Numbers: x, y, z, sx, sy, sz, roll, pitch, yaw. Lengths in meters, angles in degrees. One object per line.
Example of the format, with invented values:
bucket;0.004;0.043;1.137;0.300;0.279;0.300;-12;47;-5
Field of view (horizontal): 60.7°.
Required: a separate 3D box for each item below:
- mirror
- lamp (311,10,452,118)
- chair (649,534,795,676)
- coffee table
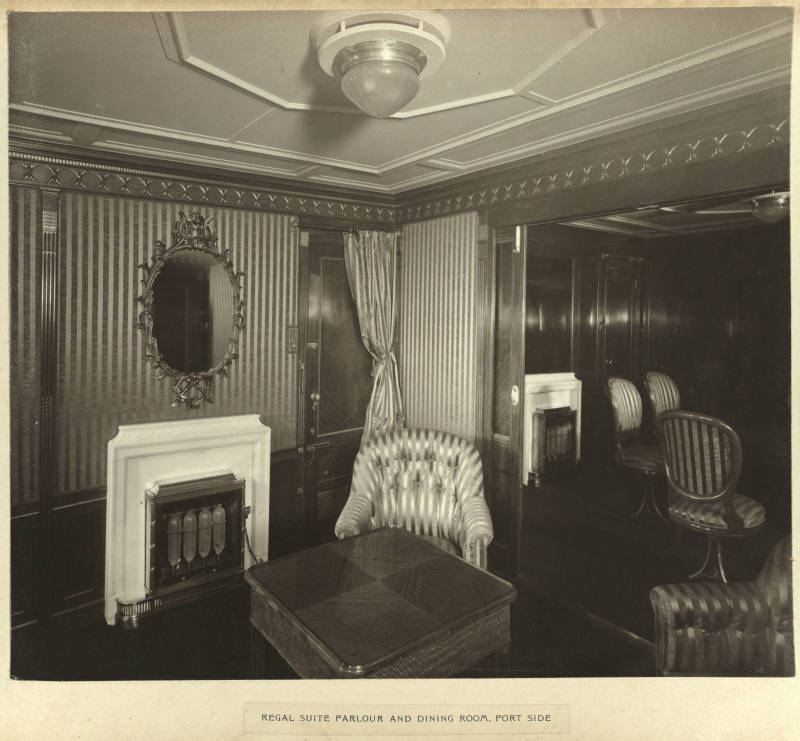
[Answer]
mirror;-1.232;-0.355;4.050;0.656;1.142;0.105;-11;14;-43
lamp;-0.076;-1.126;2.444;0.339;0.255;0.376;-2;-3;15
chair;1.242;0.883;2.817;0.482;0.608;0.486;-1;-6;9
coffee table;-0.093;1.036;2.968;0.892;0.290;0.924;-10;16;-38
